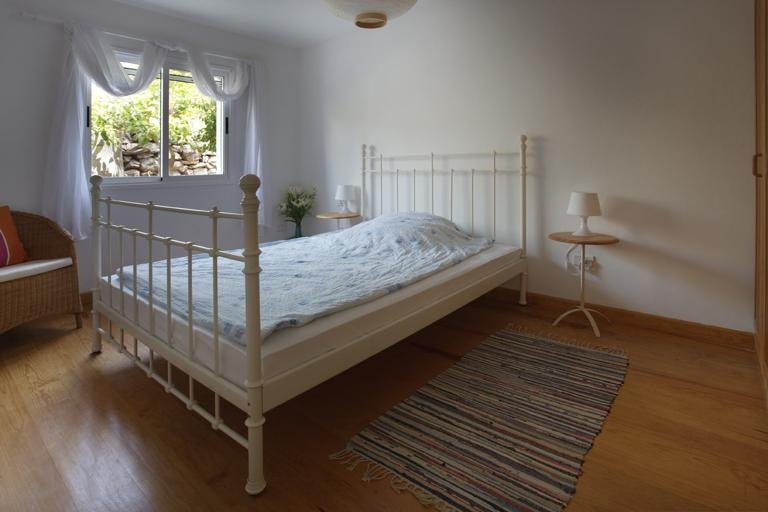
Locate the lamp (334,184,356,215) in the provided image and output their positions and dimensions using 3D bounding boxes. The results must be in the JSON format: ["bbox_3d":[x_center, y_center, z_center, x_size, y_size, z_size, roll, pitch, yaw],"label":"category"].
[{"bbox_3d":[-0.479,-0.665,5.748,0.304,0.337,0.297,-11,17,-38],"label":"lamp"}]

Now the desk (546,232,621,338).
[{"bbox_3d":[1.806,0.260,4.463,0.789,0.767,0.781,7,6,35],"label":"desk"}]

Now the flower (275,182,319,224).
[{"bbox_3d":[-1.128,-0.653,6.210,0.432,0.442,0.407,-6,7,-9],"label":"flower"}]
